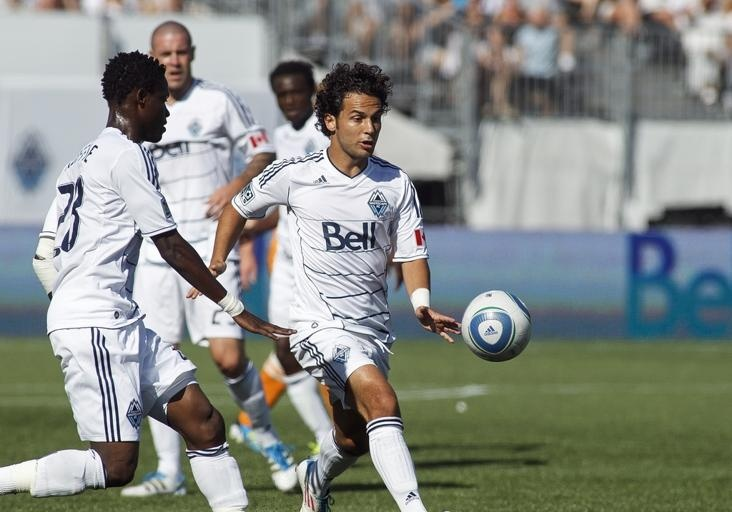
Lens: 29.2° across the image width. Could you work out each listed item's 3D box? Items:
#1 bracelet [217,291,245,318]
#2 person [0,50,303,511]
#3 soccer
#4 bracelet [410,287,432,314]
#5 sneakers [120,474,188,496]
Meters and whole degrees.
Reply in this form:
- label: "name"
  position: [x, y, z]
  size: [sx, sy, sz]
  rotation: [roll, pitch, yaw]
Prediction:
- label: "bracelet"
  position: [-0.967, 0.317, 9.975]
  size: [0.187, 0.146, 0.189]
  rotation: [30, -2, -12]
- label: "person"
  position: [-1.670, 0.206, 9.812]
  size: [1.541, 3.226, 0.555]
  rotation: [-2, 6, -6]
- label: "soccer"
  position: [0.960, 0.523, 10.322]
  size: [0.511, 0.549, 0.523]
  rotation: [-4, 5, 14]
- label: "bracelet"
  position: [0.401, 0.302, 10.147]
  size: [0.134, 0.133, 0.154]
  rotation: [3, -1, -15]
- label: "sneakers"
  position: [-1.685, 1.848, 11.302]
  size: [0.569, 0.244, 0.199]
  rotation: [3, -6, -10]
